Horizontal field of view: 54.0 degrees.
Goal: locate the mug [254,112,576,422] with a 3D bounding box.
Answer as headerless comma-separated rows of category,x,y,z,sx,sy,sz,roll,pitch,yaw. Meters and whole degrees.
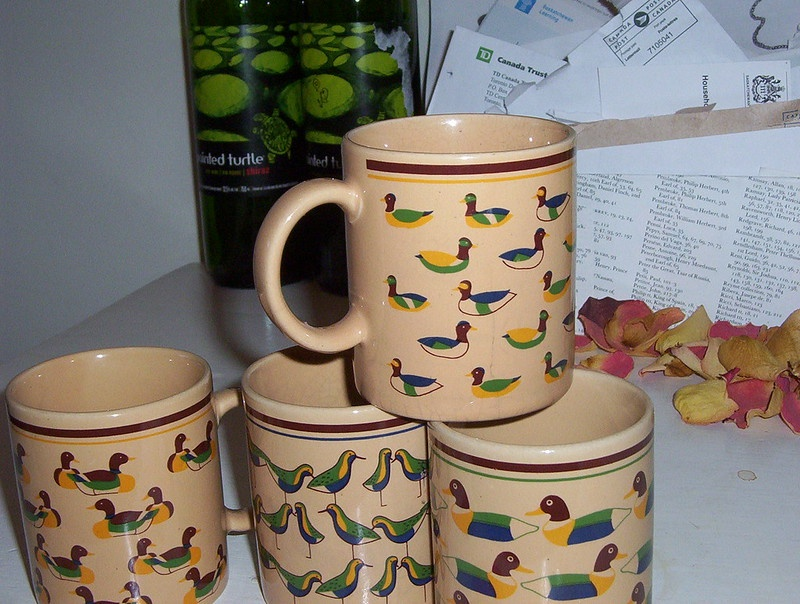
mug,0.002,-0.015,0.467,0.184,0.156,0.117,-9,16,-24

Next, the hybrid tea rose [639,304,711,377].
hybrid tea rose,0.261,0.040,0.727,0.073,0.027,0.051,-35,40,-10
